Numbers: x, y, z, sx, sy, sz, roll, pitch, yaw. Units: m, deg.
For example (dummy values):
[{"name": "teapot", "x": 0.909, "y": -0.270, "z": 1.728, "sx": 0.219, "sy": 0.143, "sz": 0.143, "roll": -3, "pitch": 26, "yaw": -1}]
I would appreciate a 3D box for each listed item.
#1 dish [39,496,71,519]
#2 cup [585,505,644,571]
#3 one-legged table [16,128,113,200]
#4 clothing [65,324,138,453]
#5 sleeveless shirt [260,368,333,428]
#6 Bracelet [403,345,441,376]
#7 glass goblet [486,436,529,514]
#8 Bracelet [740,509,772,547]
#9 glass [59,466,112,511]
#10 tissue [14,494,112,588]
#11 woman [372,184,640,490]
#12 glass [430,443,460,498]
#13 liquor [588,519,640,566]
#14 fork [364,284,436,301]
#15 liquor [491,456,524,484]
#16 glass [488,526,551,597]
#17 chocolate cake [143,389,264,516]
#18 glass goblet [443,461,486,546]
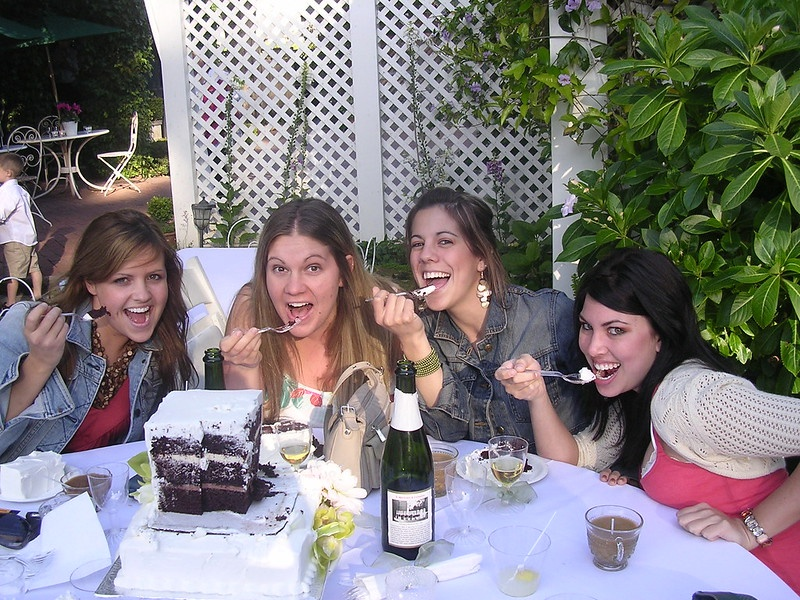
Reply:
[{"name": "dish", "x": -1.012, "y": 0.612, "z": 1.698, "sx": 0.051, "sy": 0.023, "sz": 0.059, "roll": -29, "pitch": -8, "yaw": -32}, {"name": "cup", "x": 0.535, "y": 0.618, "z": 1.442, "sx": 0.117, "sy": 0.112, "sz": 0.169, "roll": -2, "pitch": -5, "yaw": 5}, {"name": "one-legged table", "x": -6.432, "y": -2.684, "z": 10.975, "sx": 1.585, "sy": 1.121, "sz": 1.653, "roll": 0, "pitch": 10, "yaw": -2}, {"name": "clothing", "x": -1.278, "y": 0.382, "z": 2.498, "sx": 0.264, "sy": 0.494, "sz": 0.113, "roll": 13, "pitch": -4, "yaw": -43}, {"name": "sleeveless shirt", "x": -0.400, "y": 0.440, "z": 2.427, "sx": 0.280, "sy": 0.303, "sz": 0.181, "roll": 15, "pitch": -20, "yaw": 2}, {"name": "Bracelet", "x": 0.082, "y": 0.203, "z": 2.182, "sx": 0.125, "sy": 0.087, "sz": 0.130, "roll": -22, "pitch": -10, "yaw": -13}, {"name": "glass goblet", "x": 0.322, "y": 0.536, "z": 1.773, "sx": 0.150, "sy": 0.173, "sz": 0.155, "roll": 4, "pitch": -12, "yaw": -15}, {"name": "Bracelet", "x": 1.032, "y": 0.665, "z": 1.672, "sx": 0.045, "sy": 0.080, "sz": 0.079, "roll": -31, "pitch": -13, "yaw": 6}, {"name": "glass", "x": -0.918, "y": 0.541, "z": 1.716, "sx": 0.133, "sy": 0.107, "sz": 0.151, "roll": -4, "pitch": -1, "yaw": -7}, {"name": "tissue", "x": -0.877, "y": 0.647, "z": 1.513, "sx": 0.162, "sy": 0.101, "sz": 0.162, "roll": -3, "pitch": 36, "yaw": -13}, {"name": "woman", "x": 0.379, "y": 0.267, "z": 2.505, "sx": 0.764, "sy": 1.544, "sz": 0.742, "roll": -16, "pitch": -5, "yaw": 8}, {"name": "glass", "x": 0.131, "y": 0.532, "z": 1.780, "sx": 0.105, "sy": 0.103, "sz": 0.122, "roll": 1, "pitch": 2, "yaw": -2}, {"name": "liquor", "x": 0.537, "y": 0.620, "z": 1.437, "sx": 0.111, "sy": 0.109, "sz": 0.169, "roll": 1, "pitch": -8, "yaw": 7}, {"name": "fork", "x": 0.000, "y": -0.031, "z": 2.442, "sx": 0.298, "sy": 0.067, "sz": 0.052, "roll": -6, "pitch": -5, "yaw": -42}, {"name": "liquor", "x": 0.315, "y": 0.501, "z": 1.709, "sx": 0.078, "sy": 0.069, "sz": 0.082, "roll": 0, "pitch": -5, "yaw": 3}, {"name": "glass", "x": 0.295, "y": 0.633, "z": 1.398, "sx": 0.134, "sy": 0.113, "sz": 0.147, "roll": 0, "pitch": 3, "yaw": 1}, {"name": "chocolate cake", "x": -0.434, "y": 0.332, "z": 1.380, "sx": 0.240, "sy": 0.237, "sz": 0.251, "roll": 1, "pitch": 18, "yaw": 0}, {"name": "glass goblet", "x": 0.174, "y": 0.561, "z": 1.587, "sx": 0.149, "sy": 0.236, "sz": 0.151, "roll": 0, "pitch": 1, "yaw": -2}]
